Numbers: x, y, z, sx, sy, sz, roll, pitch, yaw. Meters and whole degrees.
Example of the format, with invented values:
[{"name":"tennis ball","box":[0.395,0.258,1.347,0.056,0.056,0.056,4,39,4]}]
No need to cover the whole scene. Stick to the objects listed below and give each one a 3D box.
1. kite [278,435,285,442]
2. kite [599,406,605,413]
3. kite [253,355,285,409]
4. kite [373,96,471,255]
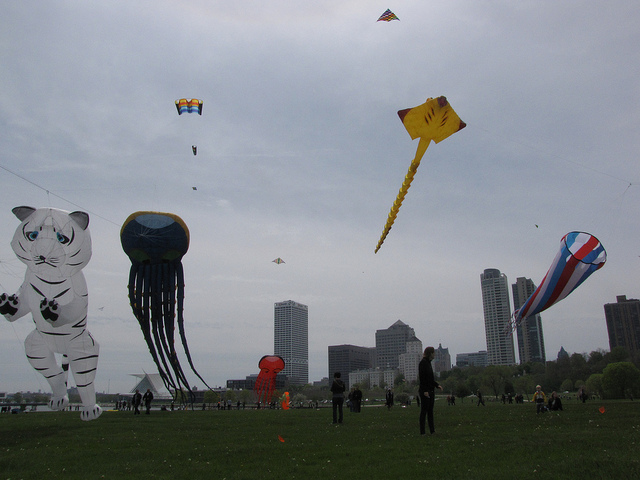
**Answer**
[{"name":"kite","box":[-1.147,5.881,16.744,0.140,0.097,0.471,2,-5,-15]},{"name":"kite","box":[12.013,7.209,24.019,0.139,0.058,3.634,-6,-15,25]},{"name":"kite","box":[-4.000,10.800,43.663,2.183,4.289,0.448,2,-53,8]},{"name":"kite","box":[3.719,-2.565,23.307,3.394,0.875,6.881,3,-56,-29]}]
